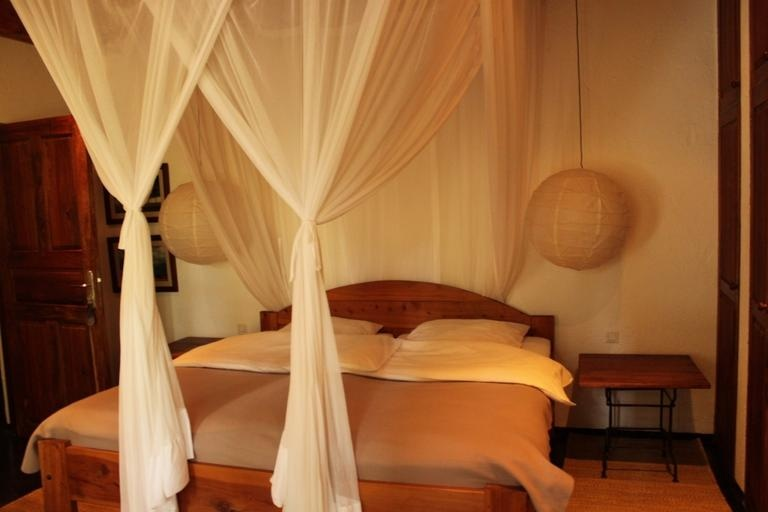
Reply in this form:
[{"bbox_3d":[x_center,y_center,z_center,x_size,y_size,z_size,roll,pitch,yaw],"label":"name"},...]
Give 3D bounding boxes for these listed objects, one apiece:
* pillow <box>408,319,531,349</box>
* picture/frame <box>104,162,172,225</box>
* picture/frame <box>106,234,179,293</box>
[{"bbox_3d":[0.629,0.566,4.439,0.548,0.104,0.361,-2,8,20],"label":"pillow"},{"bbox_3d":[-2.164,-0.558,5.162,0.600,0.041,0.626,-17,-31,-30],"label":"picture/frame"},{"bbox_3d":[-1.724,0.033,4.169,0.488,0.530,0.035,-1,8,-3],"label":"picture/frame"}]
